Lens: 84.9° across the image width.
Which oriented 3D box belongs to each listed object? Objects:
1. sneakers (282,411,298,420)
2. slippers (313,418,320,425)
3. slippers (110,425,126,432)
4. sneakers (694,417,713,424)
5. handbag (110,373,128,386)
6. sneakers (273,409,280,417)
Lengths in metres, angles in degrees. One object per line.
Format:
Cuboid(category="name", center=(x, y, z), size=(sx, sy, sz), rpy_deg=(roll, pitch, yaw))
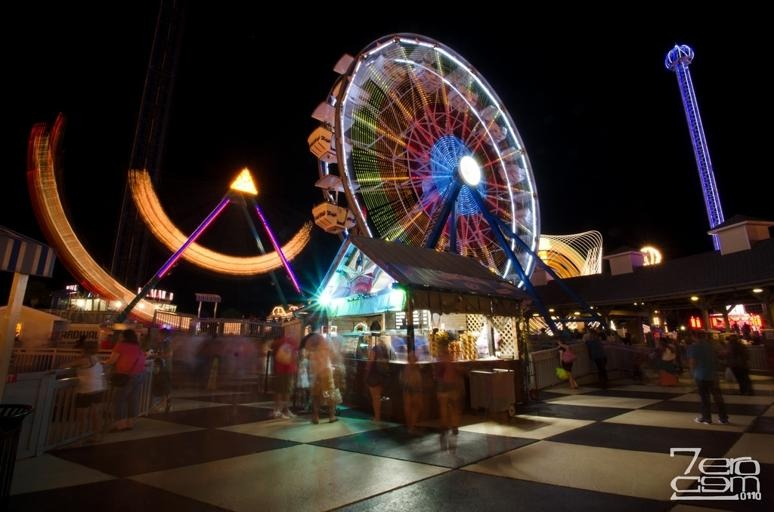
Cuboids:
Cuboid(category="sneakers", center=(-2.495, 4.068, 10.799), size=(0.468, 0.300, 0.155), rpy_deg=(0, -13, -2))
Cuboid(category="slippers", center=(-1.709, 3.958, 10.171), size=(0.144, 0.138, 0.140), rpy_deg=(0, -7, 24))
Cuboid(category="slippers", center=(-5.910, 3.779, 9.319), size=(0.227, 0.082, 0.183), rpy_deg=(-7, -11, 26))
Cuboid(category="sneakers", center=(7.157, 3.729, 9.610), size=(0.109, 0.121, 0.274), rpy_deg=(5, -4, -31))
Cuboid(category="handbag", center=(-5.691, 2.615, 9.022), size=(0.282, 0.242, 0.236), rpy_deg=(1, -2, -5))
Cuboid(category="sneakers", center=(-2.755, 3.912, 10.559), size=(0.197, 0.084, 0.256), rpy_deg=(1, -3, -14))
